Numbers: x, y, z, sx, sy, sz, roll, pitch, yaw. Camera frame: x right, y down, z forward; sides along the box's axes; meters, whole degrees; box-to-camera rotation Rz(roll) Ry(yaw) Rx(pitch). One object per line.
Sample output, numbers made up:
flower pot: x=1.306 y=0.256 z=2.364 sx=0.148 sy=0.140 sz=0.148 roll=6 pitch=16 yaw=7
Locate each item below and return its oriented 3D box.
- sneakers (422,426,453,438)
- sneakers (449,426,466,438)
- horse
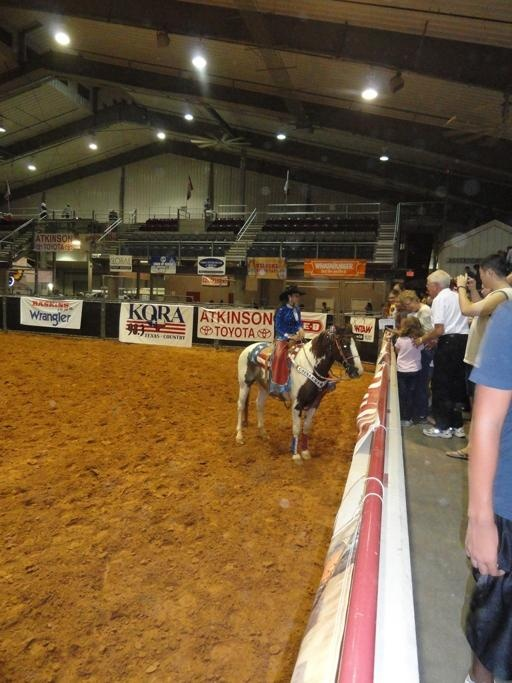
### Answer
sneakers: x=1.813 y=0.881 z=4.829 sx=0.256 sy=0.115 sz=0.096 roll=8 pitch=-3 yaw=25
sneakers: x=2.011 y=0.889 z=4.802 sx=0.072 sy=0.076 sz=0.180 roll=1 pitch=9 yaw=-4
horse: x=0.413 y=0.612 z=5.839 sx=0.588 sy=1.530 sz=2.042 roll=3 pitch=-1 yaw=-38
